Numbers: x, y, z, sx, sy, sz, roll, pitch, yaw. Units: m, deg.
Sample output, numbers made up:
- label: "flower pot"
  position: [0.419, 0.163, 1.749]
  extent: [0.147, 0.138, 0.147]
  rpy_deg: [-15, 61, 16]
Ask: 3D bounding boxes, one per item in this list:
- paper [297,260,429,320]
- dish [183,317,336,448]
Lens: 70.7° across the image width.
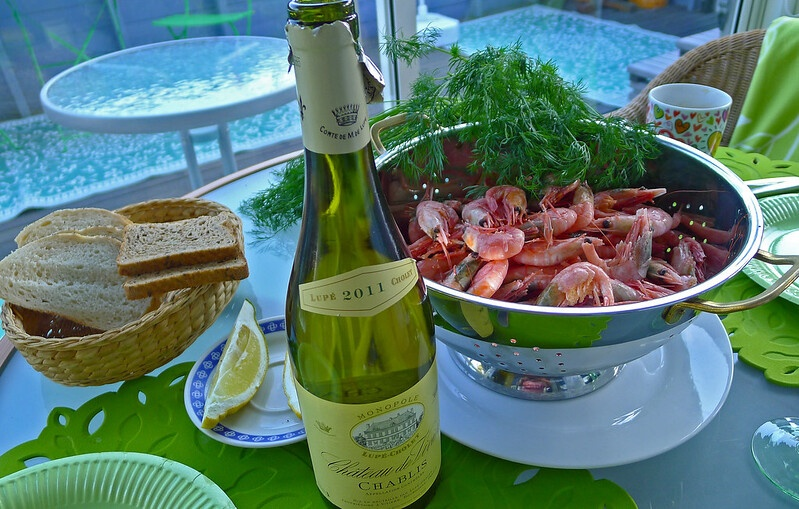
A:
- label: "paper"
  position: [-0.045, 0.033, 0.654]
  extent: [0.085, 0.083, 0.086]
  rpy_deg: [2, 29, 46]
- label: "dish"
  position: [-0.233, 0.171, 0.819]
  extent: [0.160, 0.036, 0.155]
  rpy_deg: [-9, 43, -4]
